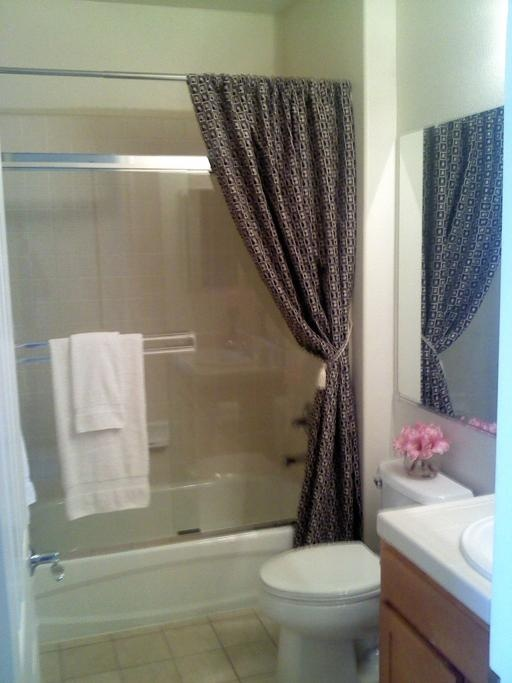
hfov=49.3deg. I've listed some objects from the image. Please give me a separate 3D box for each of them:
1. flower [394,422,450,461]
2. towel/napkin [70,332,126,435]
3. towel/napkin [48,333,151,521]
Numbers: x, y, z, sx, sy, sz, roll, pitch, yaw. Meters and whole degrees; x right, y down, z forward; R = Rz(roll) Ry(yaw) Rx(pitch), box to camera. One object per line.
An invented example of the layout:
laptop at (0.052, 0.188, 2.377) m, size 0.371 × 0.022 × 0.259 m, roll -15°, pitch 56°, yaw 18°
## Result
flower at (0.550, 0.328, 1.832) m, size 0.130 × 0.089 × 0.135 m, roll -5°, pitch 5°, yaw -10°
towel/napkin at (-0.626, 0.168, 2.180) m, size 0.220 × 0.056 × 0.461 m, roll 2°, pitch 43°, yaw -19°
towel/napkin at (-0.614, 0.328, 2.216) m, size 0.359 × 0.771 × 0.132 m, roll -2°, pitch 20°, yaw -11°
